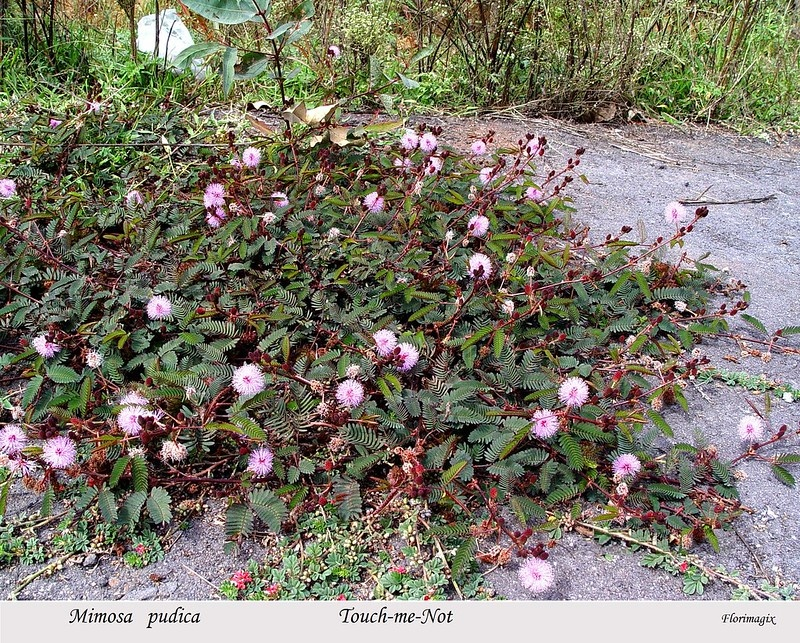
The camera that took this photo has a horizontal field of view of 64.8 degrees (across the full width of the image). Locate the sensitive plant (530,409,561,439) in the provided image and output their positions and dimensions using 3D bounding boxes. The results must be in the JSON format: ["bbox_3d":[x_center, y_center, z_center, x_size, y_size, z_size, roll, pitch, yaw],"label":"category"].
[{"bbox_3d":[0.494,0.350,2.160,0.094,0.041,0.096,11,82,-2],"label":"sensitive plant"}]

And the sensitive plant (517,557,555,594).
[{"bbox_3d":[0.445,0.807,2.034,0.117,0.106,0.105,7,37,1],"label":"sensitive plant"}]

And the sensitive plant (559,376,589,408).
[{"bbox_3d":[0.608,0.248,2.218,0.099,0.044,0.101,3,70,4],"label":"sensitive plant"}]
